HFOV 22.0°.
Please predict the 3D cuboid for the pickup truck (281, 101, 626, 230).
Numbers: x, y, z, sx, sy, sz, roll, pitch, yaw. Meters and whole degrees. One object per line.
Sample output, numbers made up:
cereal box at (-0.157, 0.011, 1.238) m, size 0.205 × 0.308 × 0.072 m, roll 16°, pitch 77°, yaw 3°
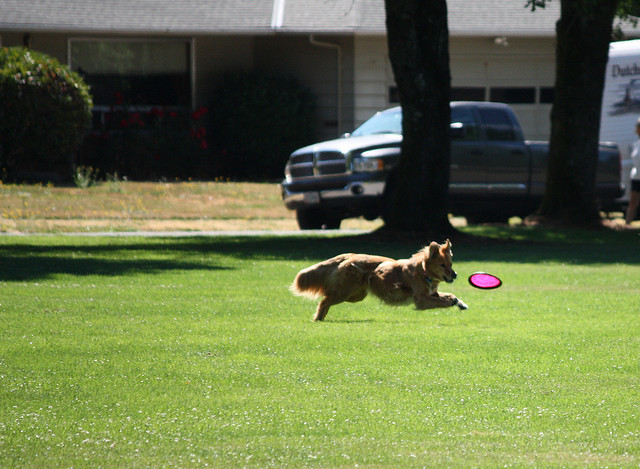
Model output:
pickup truck at (2.855, -1.281, 32.720) m, size 6.499 × 2.435 × 2.771 m, roll 0°, pitch 0°, yaw -32°
